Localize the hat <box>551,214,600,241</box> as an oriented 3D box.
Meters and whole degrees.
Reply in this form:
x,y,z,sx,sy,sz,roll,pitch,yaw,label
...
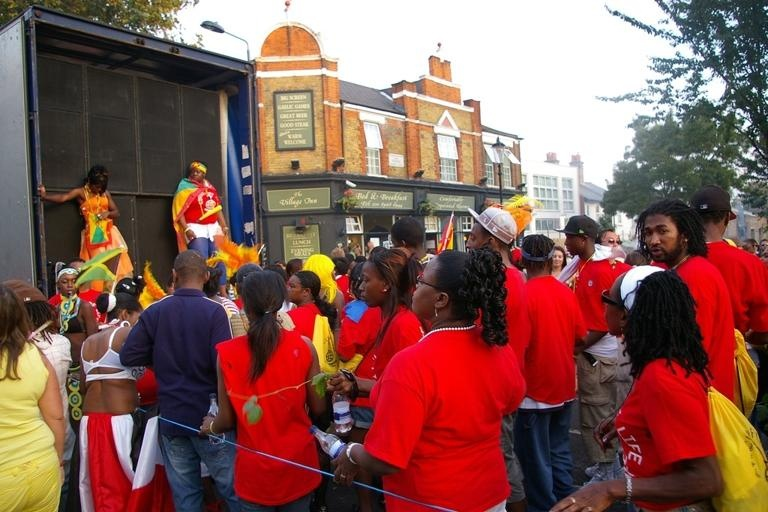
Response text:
x,y,z,sx,sy,sz,roll,pitch,yaw,label
2.307,-0.333,7.427,0.362,0.234,0.266,9,2,14,hat

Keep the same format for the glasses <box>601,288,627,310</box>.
x,y,z,sx,sy,sz,roll,pitch,yaw,label
1.956,0.363,5.497,0.135,0.053,0.175,12,36,-3,glasses

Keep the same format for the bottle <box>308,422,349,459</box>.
x,y,z,sx,sy,sz,roll,pitch,yaw,label
-0.413,1.462,4.873,0.108,0.173,0.443,-1,4,-28,bottle

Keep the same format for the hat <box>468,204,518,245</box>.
x,y,z,sx,sy,sz,roll,pitch,yaw,label
1.095,-0.334,6.300,0.428,0.171,0.308,42,17,18,hat

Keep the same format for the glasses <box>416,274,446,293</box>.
x,y,z,sx,sy,sz,roll,pitch,yaw,label
0.341,0.205,4.727,0.140,0.041,0.144,26,4,9,glasses

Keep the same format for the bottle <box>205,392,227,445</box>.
x,y,z,sx,sy,sz,roll,pitch,yaw,label
-1.557,1.548,5.931,0.175,0.453,0.429,0,3,-16,bottle
